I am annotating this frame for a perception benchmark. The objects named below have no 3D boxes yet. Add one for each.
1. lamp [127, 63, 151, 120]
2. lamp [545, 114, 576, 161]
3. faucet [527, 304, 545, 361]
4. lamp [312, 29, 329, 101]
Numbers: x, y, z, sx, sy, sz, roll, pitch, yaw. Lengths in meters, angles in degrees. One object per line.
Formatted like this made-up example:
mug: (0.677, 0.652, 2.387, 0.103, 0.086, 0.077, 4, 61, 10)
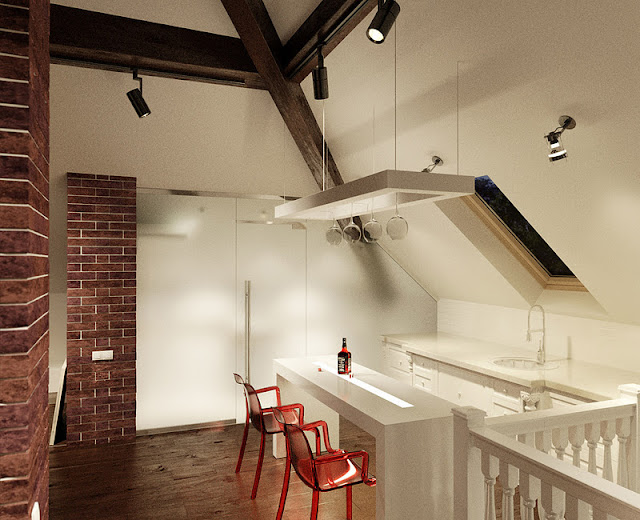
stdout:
lamp: (-1.567, -1.433, 4.405, 0.104, 0.411, 0.193, -15, -13, 37)
lamp: (1.491, -0.748, 3.178, 0.158, 0.284, 0.322, 2, 3, 27)
faucet: (1.951, 0.667, 4.620, 0.184, 0.513, 0.117, -6, 9, -1)
lamp: (0.006, -1.469, 3.911, 0.099, 0.434, 0.100, 2, 12, 31)
